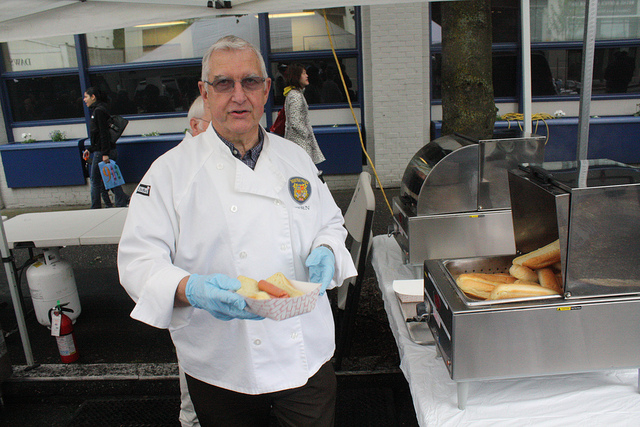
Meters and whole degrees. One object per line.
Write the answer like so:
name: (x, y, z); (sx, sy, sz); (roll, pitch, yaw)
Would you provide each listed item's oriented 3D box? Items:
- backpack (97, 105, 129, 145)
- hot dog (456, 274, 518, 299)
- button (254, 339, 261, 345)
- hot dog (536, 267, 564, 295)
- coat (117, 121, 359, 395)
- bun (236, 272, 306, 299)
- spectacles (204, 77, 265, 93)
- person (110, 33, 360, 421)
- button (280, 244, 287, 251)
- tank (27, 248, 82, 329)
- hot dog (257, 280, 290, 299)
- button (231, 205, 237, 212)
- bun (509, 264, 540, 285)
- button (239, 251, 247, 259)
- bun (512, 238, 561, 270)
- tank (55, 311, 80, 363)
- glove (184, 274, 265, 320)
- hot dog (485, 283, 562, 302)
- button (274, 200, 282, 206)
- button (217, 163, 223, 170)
backpack: (-3.013, -1.240, 7.190); (0.447, 0.309, 0.458); (21, -15, 46)
hot dog: (0.865, 0.366, 2.625); (0.265, 0.084, 0.132); (-1, 0, -14)
button: (-0.306, 0.622, 2.449); (0.030, 0.030, 0.007); (-11, 0, -4)
hot dog: (1.188, 0.335, 2.592); (0.080, 0.071, 0.249); (-2, 29, 12)
coat: (-0.402, 0.200, 2.556); (1.121, 1.280, 0.564); (-5, 15, -3)
bun: (-0.249, 0.297, 2.354); (0.251, 0.094, 0.273); (8, 12, 42)
spectacles: (-0.405, -0.617, 2.450); (0.268, 0.067, 0.059); (-7, 15, -12)
person: (-0.372, 0.129, 2.424); (1.144, 1.893, 0.660); (-9, 16, -19)
button: (-0.184, 0.169, 2.483); (0.029, 0.029, 0.007); (0, -1, -13)
tank: (-2.253, 0.666, 4.312); (0.218, 0.748, 0.344); (11, 21, 44)
hot dog: (-0.217, 0.337, 2.323); (0.177, 0.054, 0.052); (25, 65, 28)
button: (-0.418, -0.019, 2.441); (0.031, 0.031, 0.007); (1, -8, -8)
bun: (1.073, 0.318, 2.646); (0.064, 0.042, 0.126); (-6, 18, -18)
button: (-0.376, 0.202, 2.446); (0.034, 0.034, 0.008); (2, 2, -8)
bun: (1.159, 0.221, 2.653); (0.280, 0.068, 0.082); (-18, 16, 20)
tank: (-2.045, 0.963, 4.057); (0.138, 0.453, 0.227); (-12, 17, -27)
glove: (-0.443, 0.383, 2.274); (0.365, 0.200, 0.089); (-1, 15, 11)
hot dog: (0.989, 0.390, 2.516); (0.362, 0.073, 0.159); (-4, 14, -1)
button: (-0.212, -0.050, 2.493); (0.029, 0.028, 0.007); (1, -5, -6)
button: (-0.492, -0.226, 2.473); (0.029, 0.028, 0.007); (4, -8, -5)
